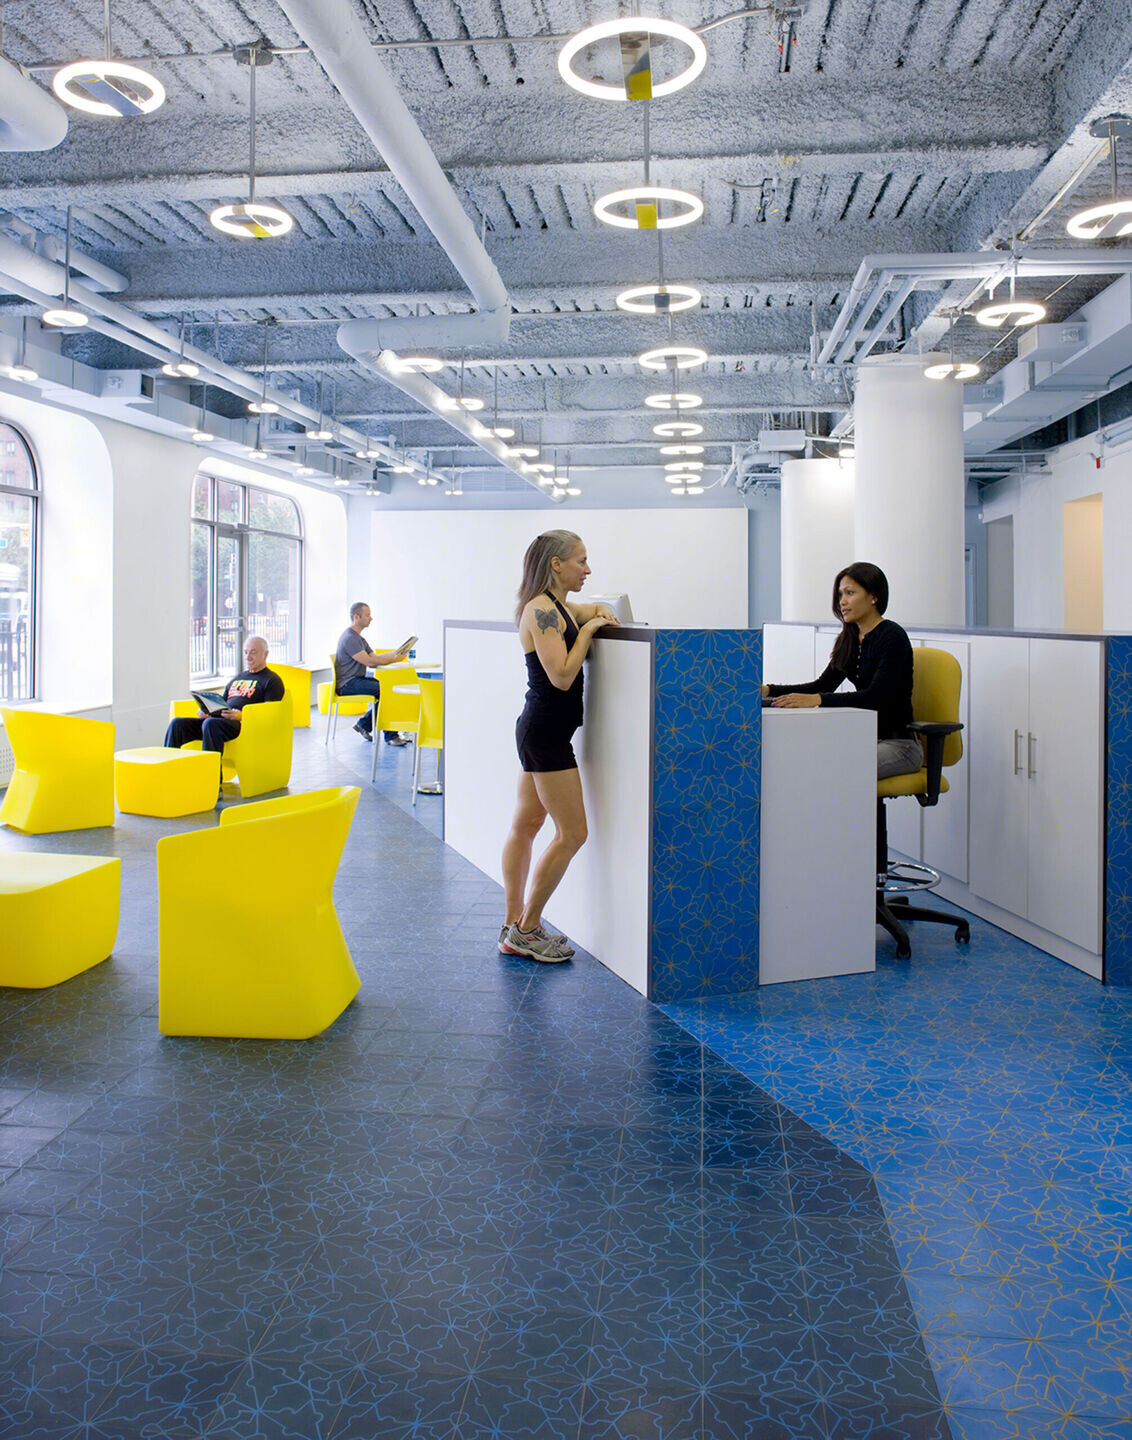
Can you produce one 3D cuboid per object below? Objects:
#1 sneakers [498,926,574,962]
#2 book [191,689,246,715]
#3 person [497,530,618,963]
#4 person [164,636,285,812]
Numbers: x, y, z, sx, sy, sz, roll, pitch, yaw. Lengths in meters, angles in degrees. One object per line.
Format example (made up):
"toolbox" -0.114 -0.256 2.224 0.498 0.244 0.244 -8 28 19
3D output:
"sneakers" -0.117 0.859 4.387 0.234 0.116 0.119 1 1 6
"book" -2.610 -0.113 8.626 0.231 0.109 0.310 -1 5 -30
"person" -0.042 0.108 4.316 0.382 1.614 0.487 -2 5 -19
"person" -2.571 -0.028 8.568 0.523 1.178 0.737 0 -10 42
